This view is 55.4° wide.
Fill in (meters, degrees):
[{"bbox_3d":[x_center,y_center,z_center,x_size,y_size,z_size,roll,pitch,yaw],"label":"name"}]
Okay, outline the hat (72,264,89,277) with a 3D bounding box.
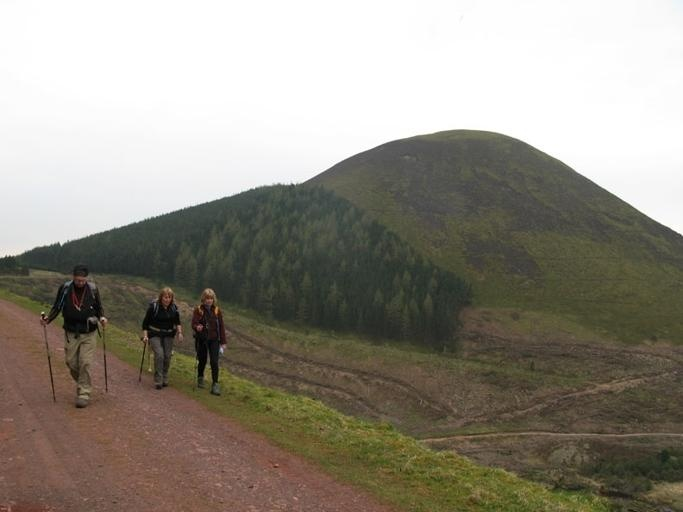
[{"bbox_3d":[-11.261,0.639,27.838,0.486,0.634,0.628,4,-5,-25],"label":"hat"}]
